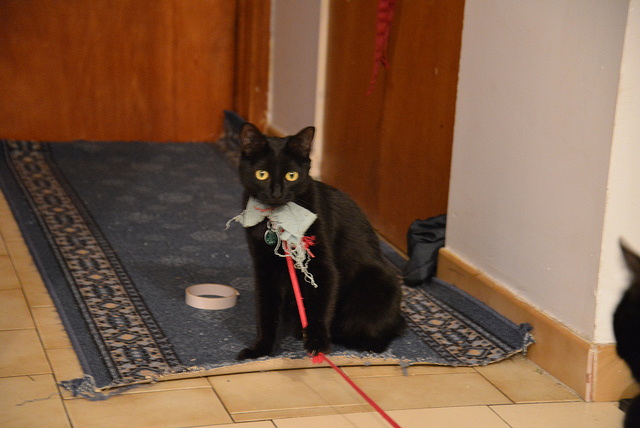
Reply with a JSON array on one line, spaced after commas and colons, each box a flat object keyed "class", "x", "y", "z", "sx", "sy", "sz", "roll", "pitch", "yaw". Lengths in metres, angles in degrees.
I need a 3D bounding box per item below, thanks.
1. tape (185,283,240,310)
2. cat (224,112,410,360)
[{"class": "tape", "x": -0.553, "y": 0.412, "z": 2.927, "sx": 0.265, "sy": 0.056, "sz": 0.226, "roll": 2, "pitch": 13, "yaw": -18}, {"class": "cat", "x": 0.015, "y": 0.117, "z": 2.491, "sx": 0.784, "sy": 0.995, "sz": 0.552, "roll": -4, "pitch": 30, "yaw": -10}]
